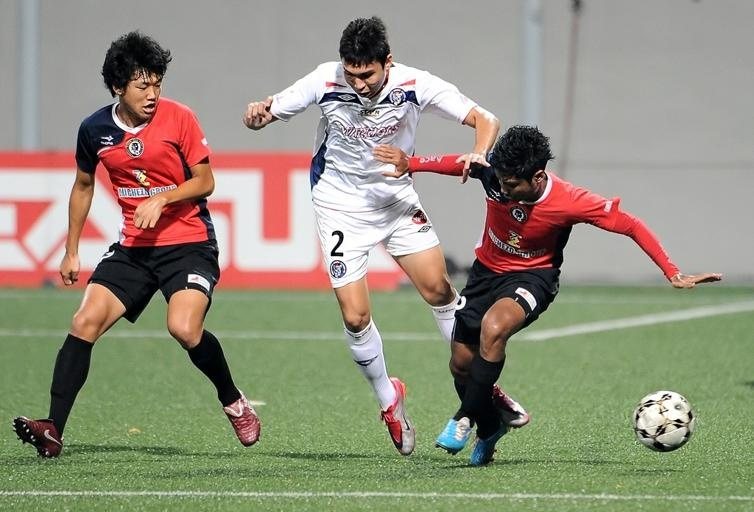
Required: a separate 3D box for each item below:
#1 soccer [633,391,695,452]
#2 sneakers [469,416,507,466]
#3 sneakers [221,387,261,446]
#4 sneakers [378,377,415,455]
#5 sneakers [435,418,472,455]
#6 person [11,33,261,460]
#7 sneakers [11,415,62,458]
[{"bbox_3d":[1.997,1.147,6.484,0.388,0.417,0.403,-6,-9,5],"label":"soccer"},{"bbox_3d":[0.753,1.346,6.454,0.183,0.428,0.149,0,29,-32],"label":"sneakers"},{"bbox_3d":[-0.941,1.175,6.641,0.174,0.493,0.201,-29,3,9],"label":"sneakers"},{"bbox_3d":[0.172,1.122,6.667,0.188,0.599,0.257,-27,-22,29],"label":"sneakers"},{"bbox_3d":[0.554,1.224,6.242,0.177,0.163,0.383,19,18,28],"label":"sneakers"},{"bbox_3d":[-1.655,-0.073,6.480,1.492,2.997,0.716,-1,6,-9],"label":"person"},{"bbox_3d":[-2.293,1.197,6.233,0.144,0.416,0.227,-6,47,30],"label":"sneakers"}]
